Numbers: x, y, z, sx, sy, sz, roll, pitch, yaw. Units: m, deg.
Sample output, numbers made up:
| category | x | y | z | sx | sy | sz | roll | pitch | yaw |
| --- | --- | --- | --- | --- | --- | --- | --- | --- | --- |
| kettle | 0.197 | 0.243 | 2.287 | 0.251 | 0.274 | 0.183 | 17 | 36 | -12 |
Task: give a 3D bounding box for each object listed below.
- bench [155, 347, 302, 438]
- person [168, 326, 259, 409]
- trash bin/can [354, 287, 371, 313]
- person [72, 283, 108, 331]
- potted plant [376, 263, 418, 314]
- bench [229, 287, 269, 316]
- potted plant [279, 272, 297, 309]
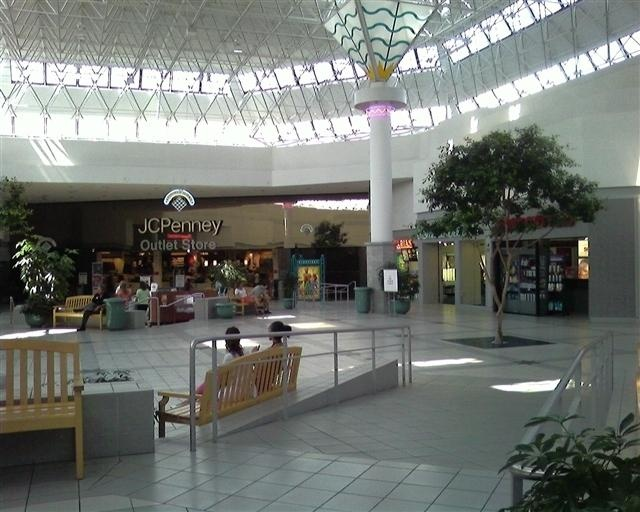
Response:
| category | x | y | z | sx | sy | sz | roll | pitch | yaw |
| --- | --- | --- | --- | --- | --- | --- | --- | --- | --- |
| bench | -1.007 | 1.625 | 6.642 | 0.824 | 0.972 | 2.095 | -4 | -1 | 44 |
| person | -1.540 | 1.477 | 7.191 | 1.510 | 1.095 | 0.703 | -17 | -18 | 32 |
| trash bin/can | 1.836 | 1.871 | 22.380 | 0.816 | 1.252 | 0.937 | -1 | 1 | -2 |
| person | -7.797 | 1.759 | 18.013 | 0.863 | 1.370 | 1.872 | -3 | -1 | -24 |
| potted plant | 3.452 | 1.408 | 21.252 | 1.879 | 2.498 | 1.691 | 2 | -5 | -18 |
| bench | -3.053 | 1.928 | 22.769 | 1.096 | 1.129 | 1.523 | -2 | -1 | 24 |
| potted plant | -1.525 | 1.666 | 25.411 | 0.810 | 1.665 | 1.187 | -3 | -1 | 3 |
